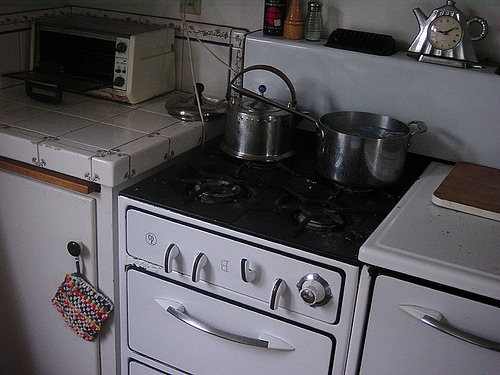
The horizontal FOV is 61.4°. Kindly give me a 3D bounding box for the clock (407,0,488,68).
[{"bbox_3d":[0.689,-0.524,1.444,0.223,0.186,0.030,19,30,25],"label":"clock"}]

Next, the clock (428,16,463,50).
[{"bbox_3d":[0.666,-0.527,1.425,0.115,0.116,0.012,5,21,30],"label":"clock"}]

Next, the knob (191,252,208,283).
[{"bbox_3d":[-0.148,0.229,1.207,0.043,0.073,0.057,11,24,9],"label":"knob"}]

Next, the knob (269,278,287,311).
[{"bbox_3d":[0.075,0.291,1.160,0.049,0.080,0.029,-4,-1,38],"label":"knob"}]

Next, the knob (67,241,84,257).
[{"bbox_3d":[-0.581,0.204,1.403,0.037,0.050,0.018,4,10,12],"label":"knob"}]

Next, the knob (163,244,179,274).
[{"bbox_3d":[-0.230,0.208,1.239,0.043,0.075,0.063,2,24,-10],"label":"knob"}]

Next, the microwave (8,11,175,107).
[{"bbox_3d":[-0.608,-0.496,1.821,0.577,0.305,0.446,18,30,22],"label":"microwave"}]
